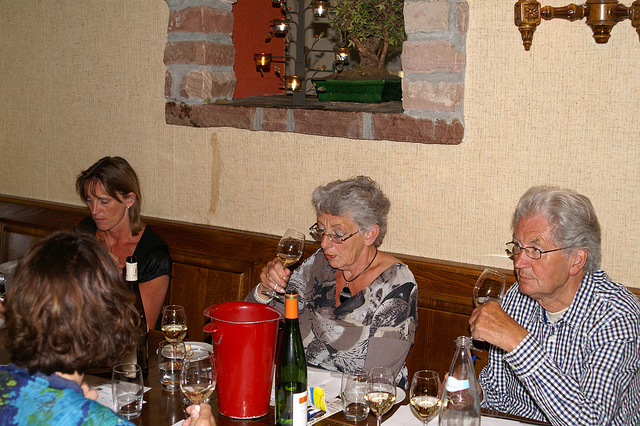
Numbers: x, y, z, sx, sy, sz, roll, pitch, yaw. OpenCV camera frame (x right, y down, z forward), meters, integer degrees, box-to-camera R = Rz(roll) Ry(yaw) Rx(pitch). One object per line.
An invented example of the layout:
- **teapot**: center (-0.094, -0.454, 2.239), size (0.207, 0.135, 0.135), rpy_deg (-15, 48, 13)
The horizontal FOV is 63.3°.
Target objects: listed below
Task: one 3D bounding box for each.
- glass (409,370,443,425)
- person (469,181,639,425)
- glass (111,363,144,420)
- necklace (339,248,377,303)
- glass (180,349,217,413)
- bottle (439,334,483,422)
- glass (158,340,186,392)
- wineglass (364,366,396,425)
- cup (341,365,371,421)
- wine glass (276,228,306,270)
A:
- **glass**: center (0.375, 0.647, 1.837), size (0.109, 0.179, 0.154), rpy_deg (1, 3, 13)
- **person**: center (0.929, 0.351, 2.030), size (0.544, 0.925, 0.490), rpy_deg (2, 3, 35)
- **glass**: center (-0.682, 0.629, 1.836), size (0.095, 0.184, 0.048), rpy_deg (-1, 3, -23)
- **necklace**: center (0.193, 0.318, 2.611), size (0.181, 0.246, 0.150), rpy_deg (0, 3, 7)
- **glass**: center (-0.427, 0.574, 1.804), size (0.134, 0.177, 0.101), rpy_deg (3, 4, 43)
- **bottle**: center (0.517, 0.581, 1.812), size (0.204, 0.314, 0.101), rpy_deg (-2, 4, -35)
- **glass**: center (-0.602, 0.619, 2.076), size (0.128, 0.188, 0.133), rpy_deg (-2, -10, 9)
- **wineglass**: center (0.206, 0.644, 1.797), size (0.105, 0.177, 0.103), rpy_deg (0, 3, 5)
- **cup**: center (0.126, 0.657, 1.969), size (0.153, 0.227, 0.158), rpy_deg (-1, 4, 0)
- **wine glass**: center (-0.148, 0.180, 2.575), size (0.120, 0.197, 0.103), rpy_deg (0, 3, -5)
